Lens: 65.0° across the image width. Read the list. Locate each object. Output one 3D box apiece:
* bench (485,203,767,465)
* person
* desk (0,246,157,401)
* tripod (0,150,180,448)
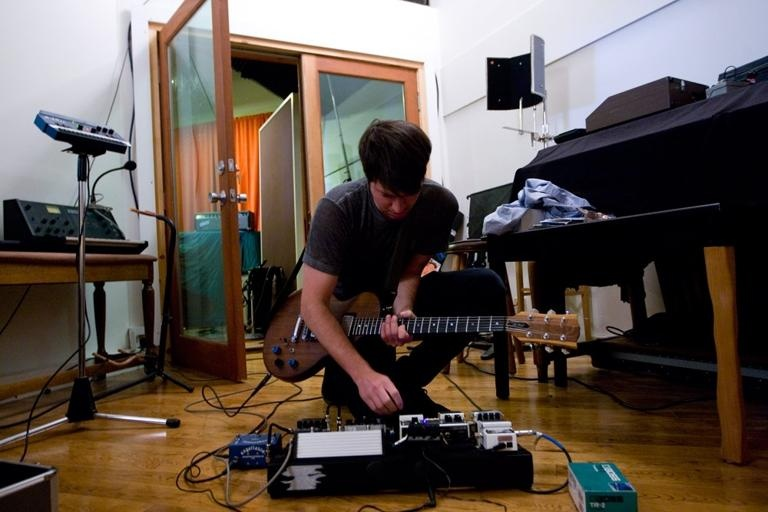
[{"bbox_3d":[1.202,0.343,2.923,1.076,1.143,0.264,0,2,36],"label":"bench"},{"bbox_3d":[-0.038,0.075,3.125,0.983,1.493,1.174,-19,29,-35],"label":"person"},{"bbox_3d":[-1.986,0.145,3.884,0.769,1.085,1.297,-1,-2,-35],"label":"desk"},{"bbox_3d":[-1.722,0.129,3.610,0.883,1.604,1.382,-2,2,-20],"label":"tripod"}]
